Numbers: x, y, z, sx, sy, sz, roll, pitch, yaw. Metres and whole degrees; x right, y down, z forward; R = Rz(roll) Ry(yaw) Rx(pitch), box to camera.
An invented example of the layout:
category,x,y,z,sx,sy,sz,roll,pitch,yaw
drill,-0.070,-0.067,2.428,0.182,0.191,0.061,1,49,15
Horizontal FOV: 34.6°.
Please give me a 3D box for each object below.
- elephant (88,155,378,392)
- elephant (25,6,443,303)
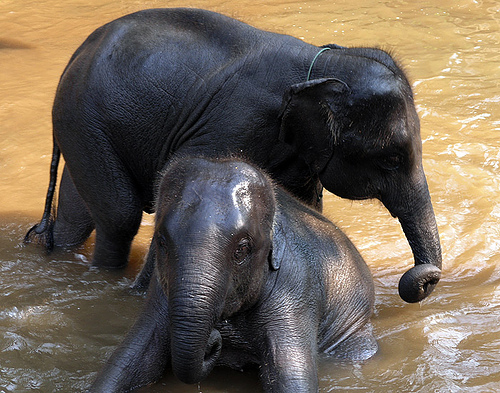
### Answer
category,x,y,z,sx,sy,sz,roll,pitch,yaw
elephant,0.033,0.372,3.833,0.919,0.727,1.475,4,1,27
elephant,-0.626,-0.389,4.194,3.182,1.401,1.024,6,23,17
